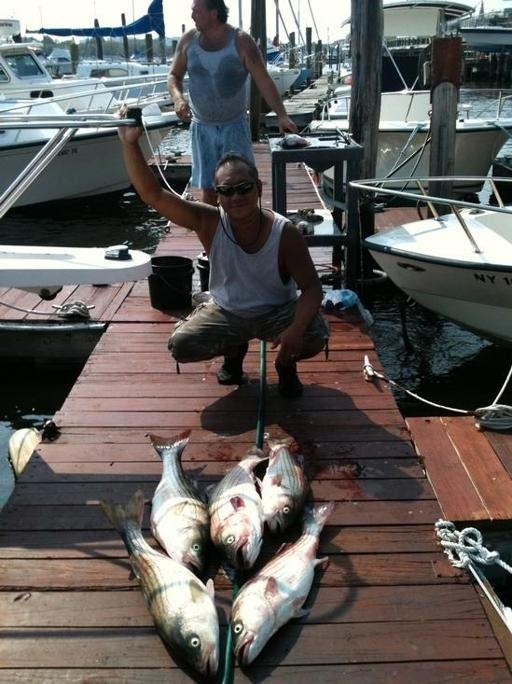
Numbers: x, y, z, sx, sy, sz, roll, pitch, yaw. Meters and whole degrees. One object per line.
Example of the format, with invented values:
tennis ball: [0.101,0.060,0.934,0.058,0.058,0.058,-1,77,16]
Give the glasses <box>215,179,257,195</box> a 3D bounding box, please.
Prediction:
glasses: [-0.092,-0.659,2.755,0.163,0.055,0.059,-3,31,-2]

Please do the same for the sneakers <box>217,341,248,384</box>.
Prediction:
sneakers: [-0.119,0.133,3.391,0.107,0.111,0.290,2,16,5]

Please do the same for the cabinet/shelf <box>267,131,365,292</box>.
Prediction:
cabinet/shelf: [0.421,-0.965,4.798,0.888,0.936,0.691,-9,27,-18]

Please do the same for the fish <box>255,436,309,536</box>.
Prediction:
fish: [0.101,0.548,2.437,0.178,0.092,0.379,2,24,-1]

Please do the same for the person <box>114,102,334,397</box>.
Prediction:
person: [-0.115,-0.401,2.976,1.050,1.232,0.768,3,14,9]

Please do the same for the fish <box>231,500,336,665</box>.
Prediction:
fish: [0.095,0.760,1.970,0.166,0.127,0.478,17,21,25]

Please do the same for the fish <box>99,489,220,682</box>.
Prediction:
fish: [-0.281,0.728,1.989,0.201,0.180,0.637,-28,31,-13]

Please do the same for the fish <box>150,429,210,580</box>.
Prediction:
fish: [-0.321,0.595,2.324,0.137,0.171,0.501,1,29,-18]
